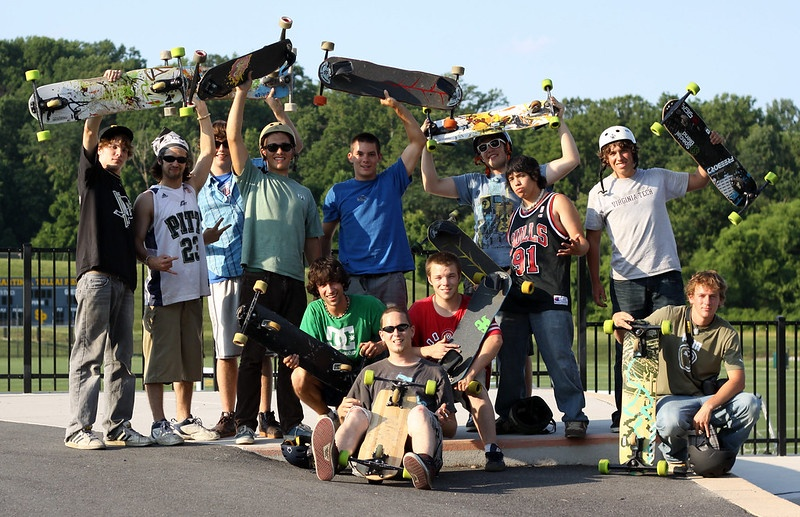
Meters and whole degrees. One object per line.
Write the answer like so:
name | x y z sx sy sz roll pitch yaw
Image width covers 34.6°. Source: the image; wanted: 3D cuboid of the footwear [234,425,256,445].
footwear | -2.317 2.659 19.344 0.293 0.277 0.185 0 -5 -7

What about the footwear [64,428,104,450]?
footwear | -4.675 2.717 19.104 0.580 0.271 0.255 -5 -8 30

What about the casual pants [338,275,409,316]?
casual pants | -0.339 0.747 19.926 0.901 0.892 0.532 -2 -10 9

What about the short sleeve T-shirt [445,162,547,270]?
short sleeve T-shirt | 1.429 -0.657 20.254 1.530 1.583 0.518 -5 -6 20

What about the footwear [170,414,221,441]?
footwear | -3.093 2.608 19.548 0.830 0.384 0.310 8 -11 5

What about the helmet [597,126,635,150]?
helmet | 3.418 -1.915 20.204 0.355 0.496 0.386 0 -2 6

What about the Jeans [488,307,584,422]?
Jeans | 2.126 1.640 19.889 1.611 2.577 0.765 -3 -16 8

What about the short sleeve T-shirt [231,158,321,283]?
short sleeve T-shirt | -1.944 -0.524 19.756 1.514 2.292 0.640 10 -40 -16

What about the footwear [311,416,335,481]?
footwear | -1.053 2.728 18.453 0.302 0.923 0.357 1 -6 4

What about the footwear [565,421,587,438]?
footwear | 2.697 2.613 19.495 0.330 0.273 0.177 -1 -5 -1

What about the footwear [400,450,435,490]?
footwear | 0.328 2.985 18.301 0.268 0.661 0.305 -12 18 39

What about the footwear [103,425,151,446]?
footwear | -4.067 2.665 19.354 0.777 0.355 0.292 2 -3 4

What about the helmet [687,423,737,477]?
helmet | 4.506 2.839 19.066 0.575 0.693 0.788 -1 9 -31

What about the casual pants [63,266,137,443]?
casual pants | -4.439 1.427 19.204 0.946 2.443 0.436 1 -6 -15
